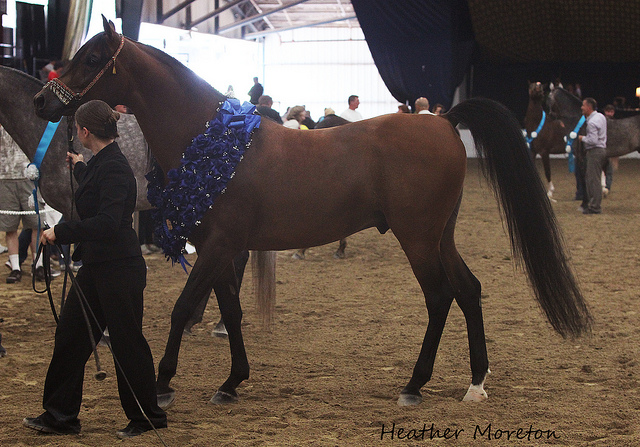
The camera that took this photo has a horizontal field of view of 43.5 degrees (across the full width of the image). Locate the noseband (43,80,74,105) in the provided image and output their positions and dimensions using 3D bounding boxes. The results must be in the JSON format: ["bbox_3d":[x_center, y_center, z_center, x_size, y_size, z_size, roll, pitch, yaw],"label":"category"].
[{"bbox_3d":[-2.179,-1.098,6.722,0.236,0.195,0.056,7,15,25],"label":"noseband"}]

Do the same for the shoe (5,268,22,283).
[{"bbox_3d":[-3.722,0.647,9.809,0.102,0.153,0.232,6,15,21],"label":"shoe"}]

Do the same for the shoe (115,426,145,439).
[{"bbox_3d":[-1.503,1.666,6.371,0.168,0.073,0.088,5,-5,-5],"label":"shoe"}]

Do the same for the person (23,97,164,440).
[{"bbox_3d":[-1.748,0.358,6.399,0.968,2.597,0.845,-1,14,-4],"label":"person"}]

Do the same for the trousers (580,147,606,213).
[{"bbox_3d":[4.728,-0.764,13.816,0.366,1.117,0.624,5,15,18],"label":"trousers"}]

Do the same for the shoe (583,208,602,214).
[{"bbox_3d":[4.655,-0.204,13.679,0.229,0.098,0.120,-2,7,6],"label":"shoe"}]

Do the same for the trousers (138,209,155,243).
[{"bbox_3d":[-2.384,0.046,11.002,0.199,0.538,0.327,-3,14,-12],"label":"trousers"}]
